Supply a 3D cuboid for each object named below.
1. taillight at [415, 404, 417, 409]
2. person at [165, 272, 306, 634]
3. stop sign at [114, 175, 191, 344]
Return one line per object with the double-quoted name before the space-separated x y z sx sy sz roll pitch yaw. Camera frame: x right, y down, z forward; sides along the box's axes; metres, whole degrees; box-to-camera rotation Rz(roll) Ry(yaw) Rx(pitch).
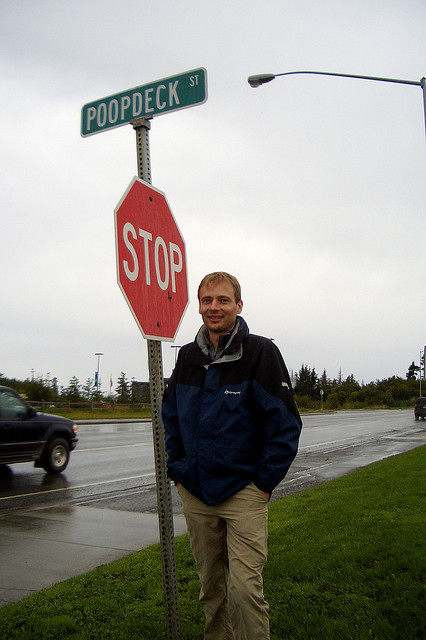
"taillight" 16.695 7.053 37.795 0.077 0.319 0.500 -1 -6 17
"person" 0.069 0.518 1.927 0.374 1.511 0.622 4 -6 -38
"stop sign" -0.258 -0.236 1.857 0.013 0.887 0.622 -7 -5 19
